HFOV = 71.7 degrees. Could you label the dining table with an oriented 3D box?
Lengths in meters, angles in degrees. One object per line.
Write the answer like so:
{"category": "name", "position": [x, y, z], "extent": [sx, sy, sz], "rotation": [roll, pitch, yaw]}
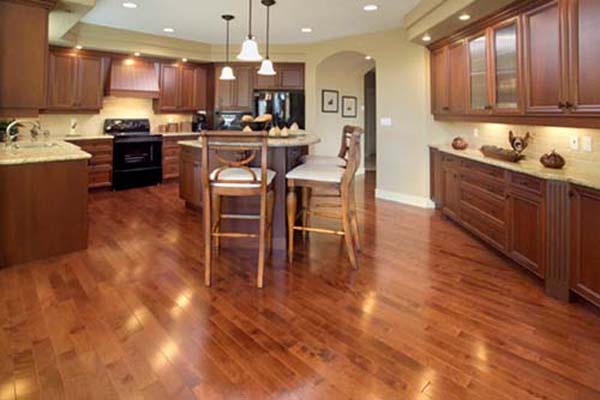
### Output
{"category": "dining table", "position": [-0.769, -0.197, 5.210], "extent": [1.627, 1.041, 1.651], "rotation": [0, 5, -8]}

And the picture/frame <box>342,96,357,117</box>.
{"category": "picture/frame", "position": [1.053, -2.029, 8.994], "extent": [0.019, 0.344, 0.484], "rotation": [8, 17, 32]}

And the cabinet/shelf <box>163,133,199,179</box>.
{"category": "cabinet/shelf", "position": [-2.118, -0.805, 8.109], "extent": [0.981, 0.933, 0.675], "rotation": [1, 0, 42]}

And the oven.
{"category": "oven", "position": [-3.020, -0.519, 7.935], "extent": [0.946, 1.171, 0.889], "rotation": [-1, -27, -19]}

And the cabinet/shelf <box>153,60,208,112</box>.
{"category": "cabinet/shelf", "position": [-2.494, -2.231, 8.202], "extent": [0.341, 0.930, 1.011], "rotation": [15, 17, 28]}

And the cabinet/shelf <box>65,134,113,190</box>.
{"category": "cabinet/shelf", "position": [-3.614, -0.555, 7.429], "extent": [0.780, 0.999, 0.764], "rotation": [-8, -13, 7]}

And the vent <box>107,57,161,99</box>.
{"category": "vent", "position": [-3.026, -2.241, 7.803], "extent": [0.885, 0.679, 0.474], "rotation": [2, 6, -3]}

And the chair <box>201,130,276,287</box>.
{"category": "chair", "position": [-0.640, -0.008, 4.399], "extent": [0.822, 1.476, 1.153], "rotation": [-2, 14, -10]}
